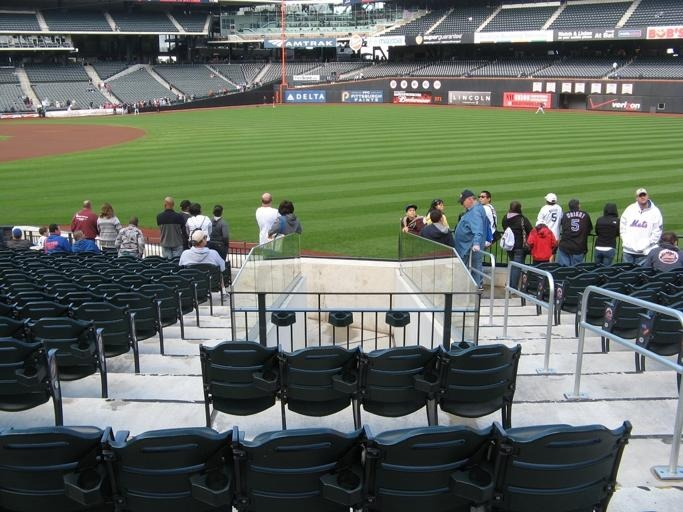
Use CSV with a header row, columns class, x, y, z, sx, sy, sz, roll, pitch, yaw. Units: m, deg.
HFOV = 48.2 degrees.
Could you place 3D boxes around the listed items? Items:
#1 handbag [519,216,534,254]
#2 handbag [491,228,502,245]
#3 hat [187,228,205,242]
class,x,y,z,sx,sy,sz,roll,pitch,yaw
handbag,3.172,-0.350,13.163,0.214,0.512,0.419,5,5,23
handbag,2.761,-0.336,13.573,0.115,0.328,0.275,-1,-6,17
hat,-2.149,-0.287,11.503,0.195,0.186,0.245,-4,9,-13
